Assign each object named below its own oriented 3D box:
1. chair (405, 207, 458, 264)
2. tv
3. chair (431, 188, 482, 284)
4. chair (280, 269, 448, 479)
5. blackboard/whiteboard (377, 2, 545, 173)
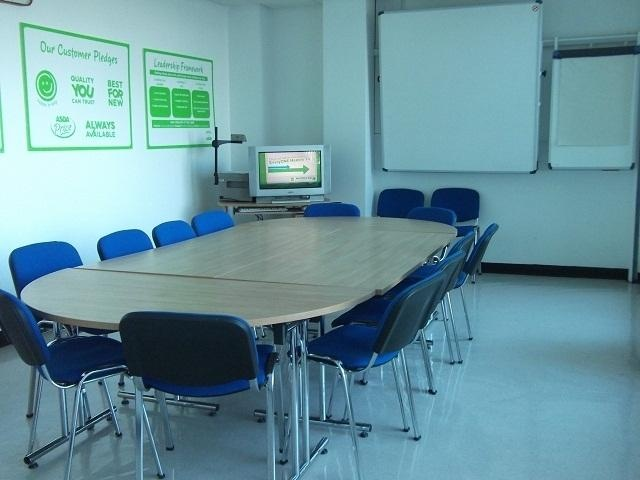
[{"bbox_3d":[1.134,-0.042,5.054,0.465,0.659,0.471,3,-1,27],"label":"chair"},{"bbox_3d":[-0.362,-0.784,6.302,1.069,0.749,0.604,-1,5,-1],"label":"tv"},{"bbox_3d":[1.805,-0.193,6.594,0.791,1.451,0.866,0,3,12],"label":"chair"},{"bbox_3d":[0.230,0.790,2.966,0.837,1.330,0.673,11,18,35],"label":"chair"},{"bbox_3d":[1.663,-1.766,5.971,1.916,2.002,0.252,2,9,18],"label":"blackboard/whiteboard"}]
